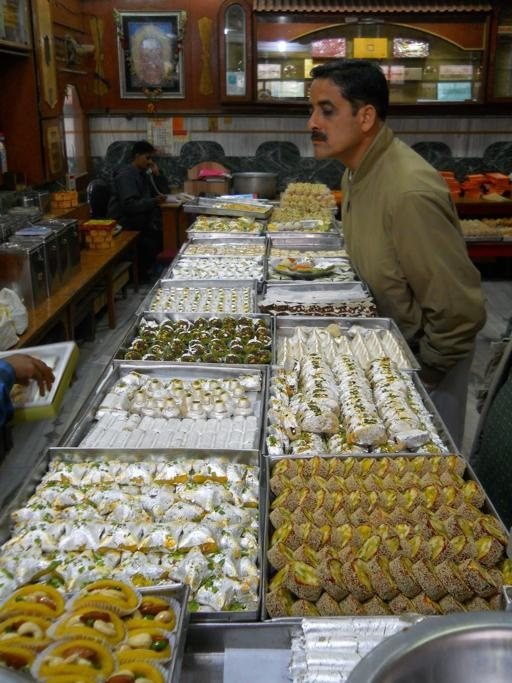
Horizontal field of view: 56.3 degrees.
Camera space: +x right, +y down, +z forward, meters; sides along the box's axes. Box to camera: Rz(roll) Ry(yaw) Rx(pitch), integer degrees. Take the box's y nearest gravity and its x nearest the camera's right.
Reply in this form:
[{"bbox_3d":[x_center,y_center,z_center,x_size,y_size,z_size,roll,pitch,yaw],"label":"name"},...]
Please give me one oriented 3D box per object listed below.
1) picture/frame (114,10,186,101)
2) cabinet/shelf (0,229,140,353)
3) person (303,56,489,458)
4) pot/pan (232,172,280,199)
[{"bbox_3d":[-1.490,-4.128,6.803,1.248,1.359,0.104,0,32,-2],"label":"picture/frame"},{"bbox_3d":[-1.532,-0.420,3.940,0.397,0.354,1.471,6,34,6],"label":"cabinet/shelf"},{"bbox_3d":[0.666,-0.416,2.291,0.326,1.697,0.885,-19,28,-39],"label":"person"},{"bbox_3d":[-0.009,-2.119,6.464,0.560,0.260,0.519,4,21,11],"label":"pot/pan"}]
